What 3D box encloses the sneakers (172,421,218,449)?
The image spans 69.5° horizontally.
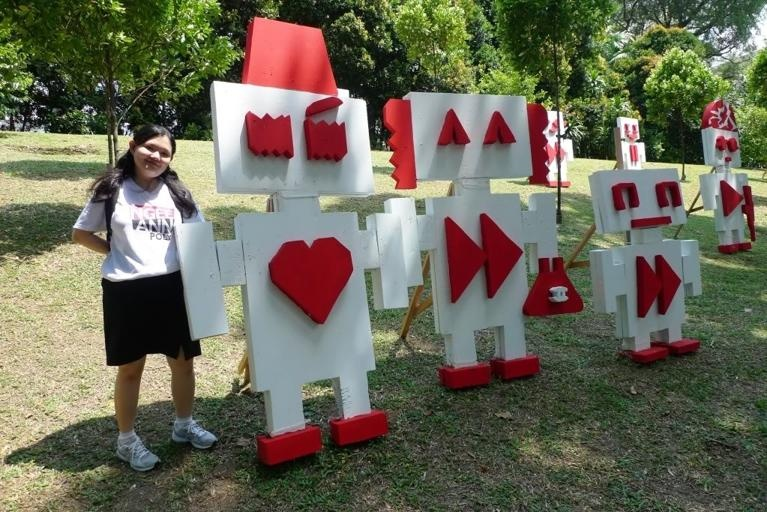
[{"bbox_3d":[-1.709,1.591,5.065,0.444,0.214,0.189,10,16,6],"label":"sneakers"}]

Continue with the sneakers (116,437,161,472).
[{"bbox_3d":[-2.183,1.712,4.861,0.443,0.201,0.191,14,15,23],"label":"sneakers"}]

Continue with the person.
[{"bbox_3d":[-2.065,0.348,4.852,0.979,2.964,0.526,-4,8,-23],"label":"person"}]
